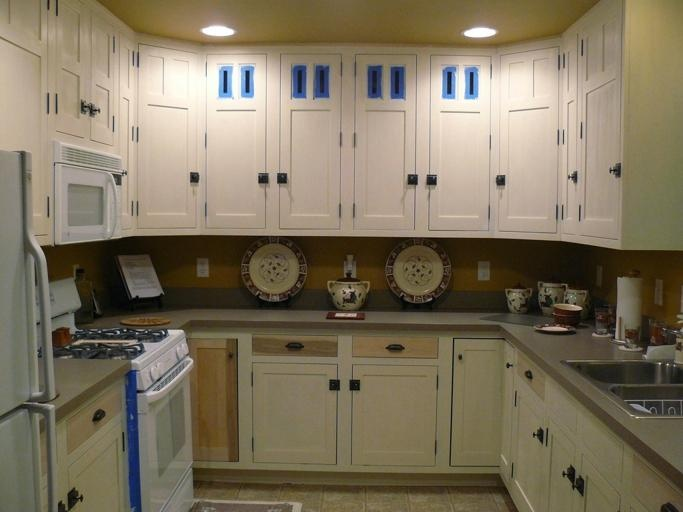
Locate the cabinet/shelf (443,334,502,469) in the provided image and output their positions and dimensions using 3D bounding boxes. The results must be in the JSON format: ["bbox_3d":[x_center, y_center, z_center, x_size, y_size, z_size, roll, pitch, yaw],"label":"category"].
[{"bbox_3d":[0.832,0.897,3.359,0.315,0.792,0.102,0,7,12],"label":"cabinet/shelf"}]

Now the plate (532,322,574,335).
[{"bbox_3d":[1.241,0.424,3.180,0.223,0.029,0.208,2,8,30],"label":"plate"}]

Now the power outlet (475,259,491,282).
[{"bbox_3d":[1.010,0.102,3.915,0.141,0.224,0.023,0,0,-5],"label":"power outlet"}]

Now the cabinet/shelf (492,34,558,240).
[{"bbox_3d":[1.107,-0.662,3.443,0.401,1.204,0.114,0,29,31],"label":"cabinet/shelf"}]

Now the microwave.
[{"bbox_3d":[-1.293,-0.253,2.738,0.285,0.400,0.495,1,1,3],"label":"microwave"}]

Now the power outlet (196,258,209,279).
[{"bbox_3d":[-1.005,0.086,3.936,0.098,0.140,0.017,-1,6,5],"label":"power outlet"}]

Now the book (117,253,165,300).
[{"bbox_3d":[-1.377,0.148,3.688,0.255,0.313,0.215,-8,9,-43],"label":"book"}]

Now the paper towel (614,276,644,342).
[{"bbox_3d":[1.538,0.287,2.919,0.117,0.348,0.123,1,1,7],"label":"paper towel"}]

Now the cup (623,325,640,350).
[{"bbox_3d":[1.507,0.422,2.838,0.087,0.152,0.094,-1,1,0],"label":"cup"}]

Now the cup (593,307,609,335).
[{"bbox_3d":[1.479,0.366,3.094,0.079,0.162,0.128,2,7,25],"label":"cup"}]

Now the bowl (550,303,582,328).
[{"bbox_3d":[1.355,0.353,3.272,0.137,0.107,0.133,1,-1,0],"label":"bowl"}]
